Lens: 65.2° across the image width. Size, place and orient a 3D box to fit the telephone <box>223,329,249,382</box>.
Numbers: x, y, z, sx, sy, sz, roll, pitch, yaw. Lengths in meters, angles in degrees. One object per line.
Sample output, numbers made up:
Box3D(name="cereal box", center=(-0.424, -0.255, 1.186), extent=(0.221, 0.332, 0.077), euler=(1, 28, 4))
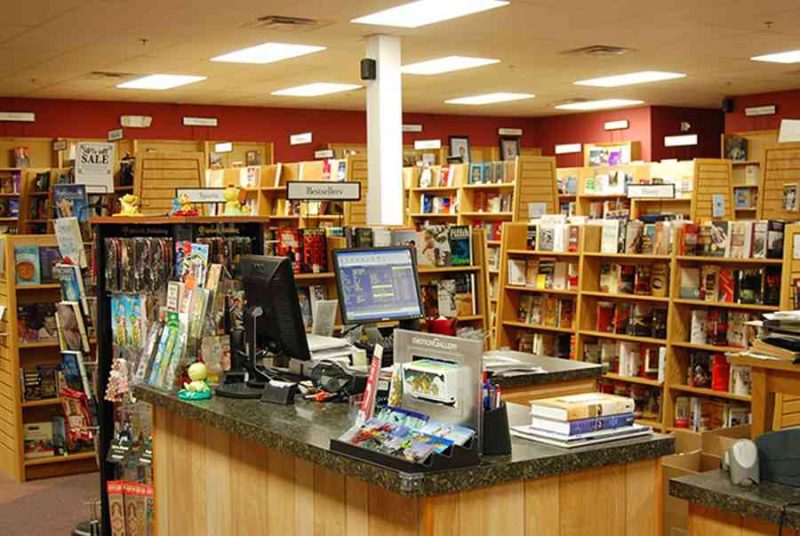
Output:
Box3D(name="telephone", center=(-0.890, 0.482, 3.444), extent=(0.166, 0.277, 0.174), euler=(-2, -2, 8))

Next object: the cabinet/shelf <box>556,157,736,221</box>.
Box3D(name="cabinet/shelf", center=(4.918, -1.530, 12.200), extent=(2.991, 1.151, 1.705), euler=(3, 8, 38))

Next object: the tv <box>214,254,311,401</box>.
Box3D(name="tv", center=(-0.760, 0.295, 3.238), extent=(0.455, 0.691, 0.326), euler=(1, 7, 30))

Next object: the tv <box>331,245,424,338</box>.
Box3D(name="tv", center=(-0.140, 0.150, 3.934), extent=(0.798, 0.603, 0.174), euler=(0, -19, -33))

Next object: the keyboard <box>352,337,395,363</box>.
Box3D(name="keyboard", center=(-0.129, 0.490, 3.839), extent=(0.204, 0.061, 0.185), euler=(0, 3, -38))

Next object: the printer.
Box3D(name="printer", center=(-0.441, 0.478, 3.458), extent=(0.316, 0.121, 0.312), euler=(2, -1, -44))

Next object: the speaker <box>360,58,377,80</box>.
Box3D(name="speaker", center=(-0.415, -2.678, 8.420), extent=(0.210, 0.316, 0.193), euler=(-2, 6, -1))

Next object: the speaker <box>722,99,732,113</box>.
Box3D(name="speaker", center=(7.453, -3.705, 14.233), extent=(0.396, 0.320, 0.196), euler=(-8, 9, -43))
